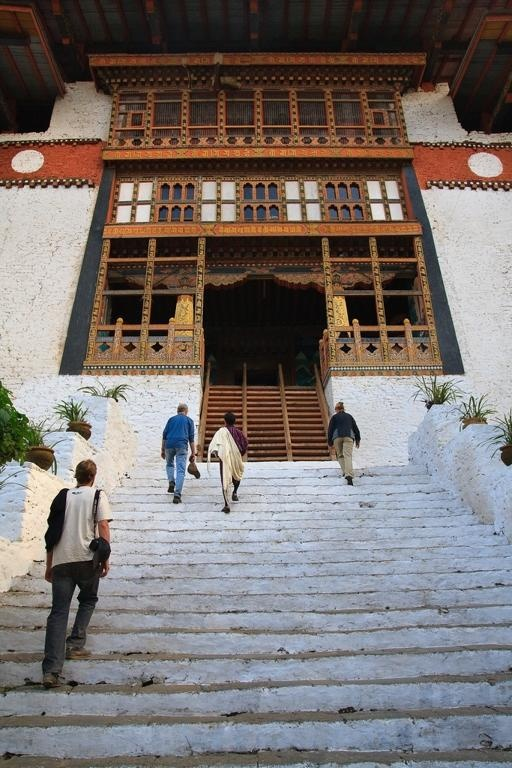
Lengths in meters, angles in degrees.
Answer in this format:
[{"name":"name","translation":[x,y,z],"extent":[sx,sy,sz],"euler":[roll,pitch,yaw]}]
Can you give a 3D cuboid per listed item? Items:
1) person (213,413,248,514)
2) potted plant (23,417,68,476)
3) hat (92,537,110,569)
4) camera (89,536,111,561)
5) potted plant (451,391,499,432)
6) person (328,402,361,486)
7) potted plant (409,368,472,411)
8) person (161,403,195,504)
[{"name":"person","translation":[-0.288,0.735,5.708],"extent":[0.304,0.824,0.869],"euler":[-2,6,6]},{"name":"potted plant","translation":[-1.709,0.520,4.748],"extent":[0.338,0.390,0.535],"euler":[14,22,-24]},{"name":"hat","translation":[-0.754,0.802,2.807],"extent":[0.099,0.143,0.055],"euler":[6,-7,-41]},{"name":"camera","translation":[-0.744,0.788,2.782],"extent":[0.085,0.106,0.112],"euler":[10,-65,-21]},{"name":"potted plant","translation":[2.776,0.335,7.483],"extent":[0.453,0.469,0.457],"euler":[3,-28,3]},{"name":"person","translation":[0.974,0.612,6.592],"extent":[0.354,0.769,1.134],"euler":[-1,6,8]},{"name":"potted plant","translation":[2.987,0.089,9.569],"extent":[0.787,0.473,0.799],"euler":[3,4,-6]},{"name":"person","translation":[-0.793,0.672,5.933],"extent":[0.319,0.928,0.733],"euler":[-3,6,-9]}]
